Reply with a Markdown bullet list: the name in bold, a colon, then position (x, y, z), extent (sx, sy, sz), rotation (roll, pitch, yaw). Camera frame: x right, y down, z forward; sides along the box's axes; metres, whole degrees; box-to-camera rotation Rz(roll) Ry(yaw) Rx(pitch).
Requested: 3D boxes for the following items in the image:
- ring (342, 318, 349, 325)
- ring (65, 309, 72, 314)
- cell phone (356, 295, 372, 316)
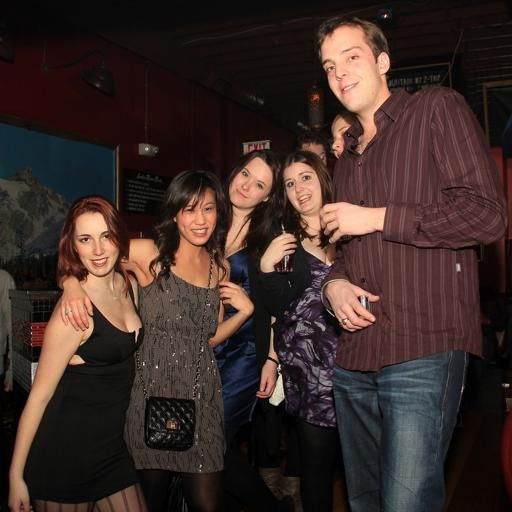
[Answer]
- **ring**: position (0.288, 0.211, 1.555), extent (0.017, 0.027, 0.009), rotation (4, 8, 21)
- **ring**: position (-0.725, 0.215, 1.851), extent (0.017, 0.015, 0.017), rotation (1, -9, 0)
- **cell phone**: position (0.340, 0.161, 1.507), extent (0.041, 0.078, 0.038), rotation (-3, 1, -40)
